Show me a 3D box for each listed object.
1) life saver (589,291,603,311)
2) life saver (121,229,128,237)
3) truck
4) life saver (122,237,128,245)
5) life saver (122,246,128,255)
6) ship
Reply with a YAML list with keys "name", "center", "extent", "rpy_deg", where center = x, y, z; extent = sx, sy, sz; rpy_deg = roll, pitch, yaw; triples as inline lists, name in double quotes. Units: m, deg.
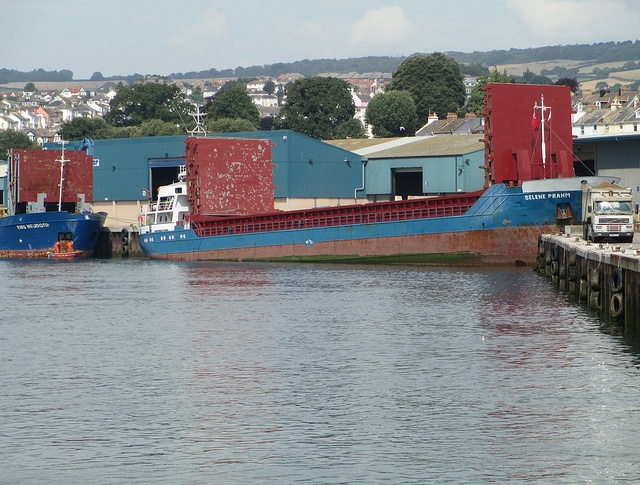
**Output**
- name: "life saver"
  center: [12.170, 2.485, 71.254]
  extent: [0.309, 0.731, 0.771]
  rpy_deg: [0, 11, 20]
- name: "life saver"
  center: [-12.555, -0.708, 106.035]
  extent: [0.448, 0.415, 0.145]
  rpy_deg: [0, -4, 34]
- name: "truck"
  center: [14.240, -1.406, 79.469]
  extent: [2.594, 2.754, 2.463]
  rpy_deg: [-2, 4, 10]
- name: "life saver"
  center: [-12.495, -0.217, 105.958]
  extent: [0.506, 0.489, 0.402]
  rpy_deg: [11, 12, 42]
- name: "life saver"
  center: [-12.464, 0.508, 105.841]
  extent: [0.414, 0.706, 0.408]
  rpy_deg: [-3, 4, -6]
- name: "ship"
  center: [1.911, -2.879, 94.467]
  extent: [32.529, 8.514, 6.388]
  rpy_deg: [-3, 0, 43]
